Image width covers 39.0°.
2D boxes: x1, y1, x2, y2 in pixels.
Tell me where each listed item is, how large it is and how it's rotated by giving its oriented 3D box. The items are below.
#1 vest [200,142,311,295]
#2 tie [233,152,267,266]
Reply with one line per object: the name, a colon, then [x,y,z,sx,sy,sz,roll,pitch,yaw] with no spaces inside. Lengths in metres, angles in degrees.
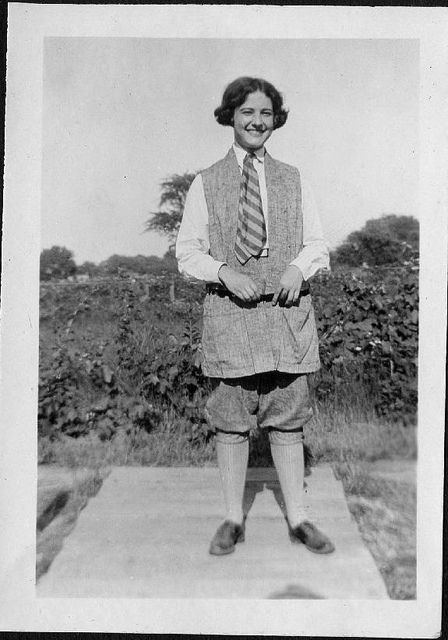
vest: [0.116,-0.388,2.475,0.427,0.847,0.178,-1,-1,-2]
tie: [0.093,-0.426,2.440,0.125,0.495,0.051,0,40,6]
